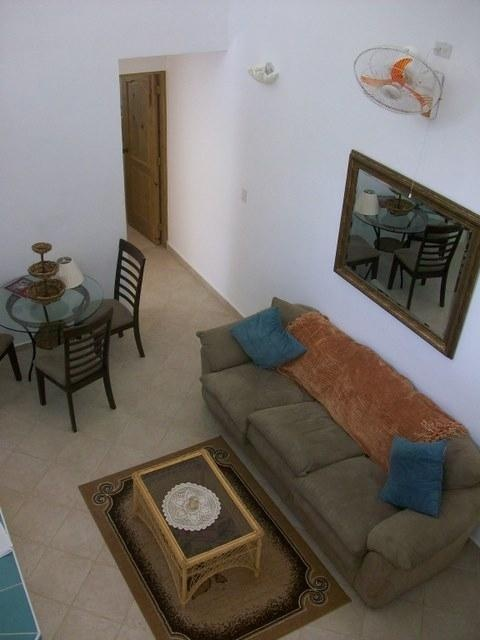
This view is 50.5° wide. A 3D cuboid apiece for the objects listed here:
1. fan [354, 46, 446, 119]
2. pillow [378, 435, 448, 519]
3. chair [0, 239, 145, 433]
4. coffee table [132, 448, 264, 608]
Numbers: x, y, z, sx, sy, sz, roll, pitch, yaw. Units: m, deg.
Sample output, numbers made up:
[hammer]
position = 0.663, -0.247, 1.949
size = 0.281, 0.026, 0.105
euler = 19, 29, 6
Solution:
[fan]
position = 0.729, -1.094, 2.318
size = 0.311, 0.188, 0.333
euler = 36, -2, 35
[pillow]
position = 0.923, 0.839, 2.703
size = 0.114, 0.374, 0.373
euler = 20, -9, -36
[chair]
position = -1.374, 0.152, 4.061
size = 0.860, 1.189, 0.672
euler = 41, 54, 18
[coffee table]
position = -0.237, 1.054, 2.725
size = 0.557, 0.448, 0.845
euler = -13, 40, -28
